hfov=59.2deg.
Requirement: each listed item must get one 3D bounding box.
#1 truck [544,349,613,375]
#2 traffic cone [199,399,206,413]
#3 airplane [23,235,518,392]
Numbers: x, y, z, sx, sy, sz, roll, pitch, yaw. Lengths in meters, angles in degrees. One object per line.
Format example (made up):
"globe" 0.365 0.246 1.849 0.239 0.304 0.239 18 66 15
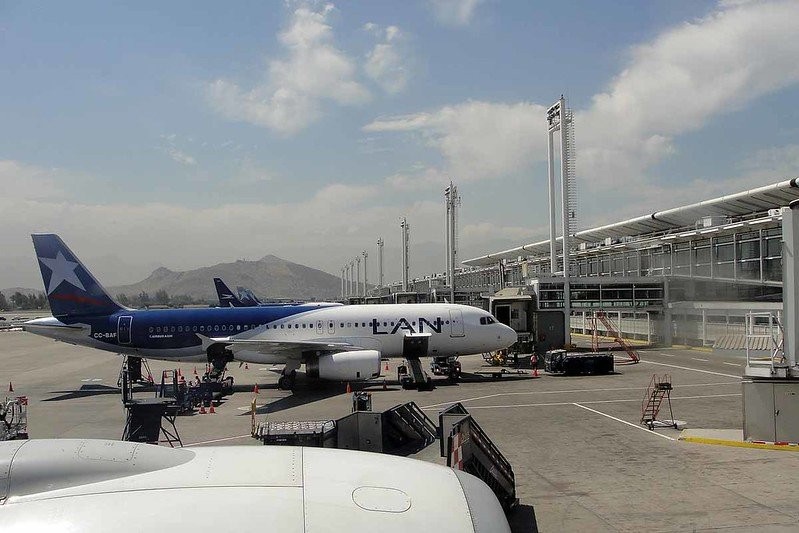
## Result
"truck" 11.918 6.425 47.221 3.034 1.077 2.215 1 -2 -2
"traffic cone" -10.568 7.618 38.127 0.408 0.560 0.373 3 -4 -31
"airplane" -7.310 1.819 48.878 30.367 9.654 18.581 1 11 8
